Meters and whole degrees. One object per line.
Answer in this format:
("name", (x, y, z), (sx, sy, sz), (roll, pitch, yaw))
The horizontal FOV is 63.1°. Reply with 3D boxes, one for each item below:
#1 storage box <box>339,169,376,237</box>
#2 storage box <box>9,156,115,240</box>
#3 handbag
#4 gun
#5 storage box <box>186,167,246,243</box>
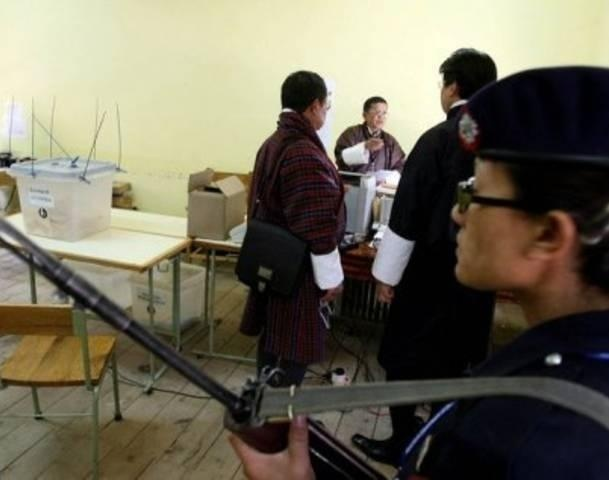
("storage box", (0.281, -0.184, 2.812), (0.180, 0.286, 0.170), (7, 0, 14))
("storage box", (-1.261, -0.211, 2.628), (0.432, 0.336, 0.471), (5, 13, 3))
("handbag", (-0.125, 0.080, 1.948), (0.269, 0.263, 0.114), (18, 17, 26))
("gun", (-0.451, 0.430, 1.943), (0.274, 1.461, 0.206), (-32, 33, 23))
("storage box", (-0.478, -0.207, 2.736), (0.242, 0.280, 0.308), (-1, 20, 6))
